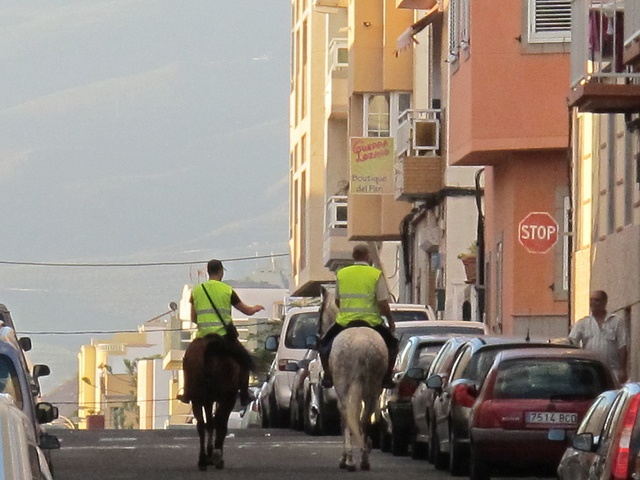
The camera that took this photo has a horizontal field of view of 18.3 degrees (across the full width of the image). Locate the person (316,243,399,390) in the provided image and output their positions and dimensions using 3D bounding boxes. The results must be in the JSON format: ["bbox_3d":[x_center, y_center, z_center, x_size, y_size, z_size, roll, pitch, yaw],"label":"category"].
[{"bbox_3d":[0.623,1.024,29.398,0.924,2.341,1.199,-1,0,-9],"label":"person"}]

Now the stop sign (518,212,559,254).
[{"bbox_3d":[4.489,-0.156,40.391,0.775,0.871,1.086,0,-5,-21],"label":"stop sign"}]

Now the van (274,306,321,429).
[{"bbox_3d":[-0.365,2.601,39.800,0.997,2.501,1.004,0,0,-18],"label":"van"}]

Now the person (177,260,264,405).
[{"bbox_3d":[-1.355,1.363,29.566,1.250,2.082,0.887,-3,-1,-13],"label":"person"}]

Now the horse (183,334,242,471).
[{"bbox_3d":[-1.661,2.126,30.028,0.764,2.297,2.840,-2,5,-4],"label":"horse"}]

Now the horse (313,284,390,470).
[{"bbox_3d":[0.561,2.259,28.797,0.882,2.028,1.157,1,2,-9],"label":"horse"}]
